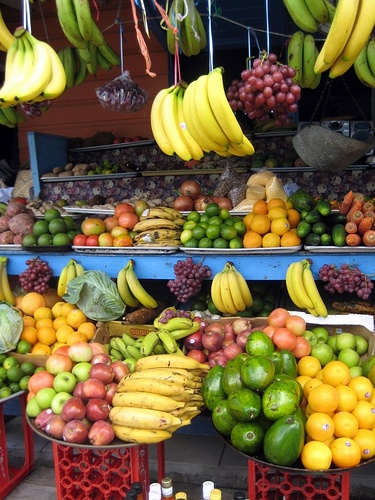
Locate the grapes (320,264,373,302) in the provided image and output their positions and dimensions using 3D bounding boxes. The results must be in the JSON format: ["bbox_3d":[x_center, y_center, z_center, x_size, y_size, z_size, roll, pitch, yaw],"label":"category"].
[{"bbox_3d":[0.861,0.160,2.264,0.157,0.154,0.324,40,-20,-33],"label":"grapes"}]

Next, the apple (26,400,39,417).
[{"bbox_3d":[-0.639,0.656,1.702,0.057,0.067,0.055,2,1,4],"label":"apple"}]

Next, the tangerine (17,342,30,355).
[{"bbox_3d":[-0.923,0.551,2.331,0.067,0.061,0.075,11,1,-11],"label":"tangerine"}]

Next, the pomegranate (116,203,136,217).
[{"bbox_3d":[-0.445,-0.289,2.975,0.116,0.100,0.102,-4,-15,8],"label":"pomegranate"}]

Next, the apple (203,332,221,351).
[{"bbox_3d":[0.123,0.451,2.071,0.094,0.094,0.127,-1,16,8],"label":"apple"}]

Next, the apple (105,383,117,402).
[{"bbox_3d":[-0.307,0.570,1.655,0.054,0.049,0.049,-8,-23,15],"label":"apple"}]

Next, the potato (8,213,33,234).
[{"bbox_3d":[-1.167,-0.189,2.901,0.180,0.123,0.127,-7,1,18],"label":"potato"}]

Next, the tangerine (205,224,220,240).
[{"bbox_3d":[0.156,-0.107,2.469,0.080,0.090,0.087,5,12,32],"label":"tangerine"}]

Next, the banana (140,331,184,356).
[{"bbox_3d":[-0.121,0.458,1.987,0.194,0.123,0.192,-1,16,6],"label":"banana"}]

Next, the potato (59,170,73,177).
[{"bbox_3d":[-1.305,-0.814,4.417,0.101,0.040,0.094,-2,15,6],"label":"potato"}]

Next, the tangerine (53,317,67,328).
[{"bbox_3d":[-0.770,0.430,2.492,0.070,0.073,0.066,5,2,-22],"label":"tangerine"}]

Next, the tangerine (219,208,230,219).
[{"bbox_3d":[0.229,-0.238,2.701,0.065,0.070,0.059,-3,34,-11],"label":"tangerine"}]

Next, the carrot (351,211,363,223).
[{"bbox_3d":[0.933,-0.175,2.293,0.064,0.058,0.060,-21,-30,13],"label":"carrot"}]

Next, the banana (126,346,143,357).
[{"bbox_3d":[-0.264,0.507,2.072,0.089,0.041,0.029,26,-15,-1],"label":"banana"}]

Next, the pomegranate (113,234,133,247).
[{"bbox_3d":[-0.407,-0.056,2.626,0.090,0.078,0.083,1,24,-4],"label":"pomegranate"}]

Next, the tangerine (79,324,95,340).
[{"bbox_3d":[-0.565,0.458,2.344,0.088,0.092,0.088,-1,8,5],"label":"tangerine"}]

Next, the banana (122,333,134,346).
[{"bbox_3d":[-0.317,0.483,2.225,0.030,0.088,0.058,-40,-6,3],"label":"banana"}]

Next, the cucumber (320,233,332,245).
[{"bbox_3d":[0.770,-0.056,2.294,0.054,0.065,0.049,9,21,35],"label":"cucumber"}]

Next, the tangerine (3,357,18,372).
[{"bbox_3d":[-0.955,0.607,2.216,0.069,0.063,0.078,-17,-6,-8],"label":"tangerine"}]

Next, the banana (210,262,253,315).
[{"bbox_3d":[0.261,0.216,2.428,0.235,0.304,0.216,-19,15,10],"label":"banana"}]

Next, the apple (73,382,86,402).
[{"bbox_3d":[-0.424,0.555,1.611,0.049,0.059,0.049,-9,0,6],"label":"apple"}]

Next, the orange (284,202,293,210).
[{"bbox_3d":[0.664,-0.286,2.720,0.050,0.055,0.052,-15,-12,33],"label":"orange"}]

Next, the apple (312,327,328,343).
[{"bbox_3d":[0.657,0.411,2.069,0.067,0.066,0.080,43,14,2],"label":"apple"}]

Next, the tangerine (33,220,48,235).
[{"bbox_3d":[-0.987,-0.153,2.773,0.094,0.099,0.095,-2,4,38],"label":"tangerine"}]

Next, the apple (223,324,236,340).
[{"bbox_3d":[0.223,0.428,2.173,0.055,0.067,0.053,-2,45,0],"label":"apple"}]

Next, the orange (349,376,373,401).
[{"bbox_3d":[0.632,0.500,1.488,0.077,0.079,0.071,-1,-21,5],"label":"orange"}]

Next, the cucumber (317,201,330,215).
[{"bbox_3d":[0.784,-0.234,2.373,0.078,0.080,0.118,2,17,16],"label":"cucumber"}]

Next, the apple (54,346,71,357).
[{"bbox_3d":[-0.617,0.495,2.038,0.059,0.050,0.061,9,48,-2],"label":"apple"}]

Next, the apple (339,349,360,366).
[{"bbox_3d":[0.717,0.477,1.829,0.067,0.061,0.075,-18,-31,-15],"label":"apple"}]

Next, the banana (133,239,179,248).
[{"bbox_3d":[-0.189,-0.031,2.569,0.289,0.050,0.123,-4,16,-4],"label":"banana"}]

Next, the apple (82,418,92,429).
[{"bbox_3d":[-0.369,0.637,1.519,0.033,0.036,0.033,-2,-1,1],"label":"apple"}]

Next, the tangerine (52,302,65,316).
[{"bbox_3d":[-0.813,0.377,2.651,0.088,0.094,0.081,-6,38,-10],"label":"tangerine"}]

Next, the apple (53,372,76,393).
[{"bbox_3d":[-0.510,0.549,1.710,0.084,0.076,0.078,-2,30,-26],"label":"apple"}]

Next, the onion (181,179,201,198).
[{"bbox_3d":[0.012,-0.466,3.290,0.149,0.137,0.168,10,-6,-1],"label":"onion"}]

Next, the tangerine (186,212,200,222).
[{"bbox_3d":[0.043,-0.220,2.736,0.072,0.066,0.065,-16,57,-19],"label":"tangerine"}]

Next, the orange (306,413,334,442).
[{"bbox_3d":[0.417,0.565,1.351,0.088,0.090,0.083,5,-6,-41],"label":"orange"}]

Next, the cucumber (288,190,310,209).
[{"bbox_3d":[0.741,-0.339,2.703,0.109,0.077,0.176,0,19,15],"label":"cucumber"}]

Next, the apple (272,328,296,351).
[{"bbox_3d":[0.432,0.397,1.880,0.102,0.083,0.094,16,35,23],"label":"apple"}]

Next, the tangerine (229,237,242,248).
[{"bbox_3d":[0.288,-0.037,2.430,0.054,0.049,0.068,-2,5,2],"label":"tangerine"}]

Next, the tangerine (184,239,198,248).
[{"bbox_3d":[0.024,-0.037,2.466,0.058,0.050,0.061,-10,15,-6],"label":"tangerine"}]

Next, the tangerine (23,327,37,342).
[{"bbox_3d":[-0.925,0.493,2.411,0.086,0.088,0.078,-3,-11,-5],"label":"tangerine"}]

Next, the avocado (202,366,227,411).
[{"bbox_3d":[0.098,0.509,1.536,0.100,0.145,0.094,17,-12,-4],"label":"avocado"}]

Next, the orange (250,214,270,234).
[{"bbox_3d":[0.436,-0.150,2.502,0.123,0.105,0.106,7,50,-13],"label":"orange"}]

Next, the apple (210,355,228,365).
[{"bbox_3d":[0.140,0.487,1.814,0.051,0.044,0.058,-13,-10,32],"label":"apple"}]

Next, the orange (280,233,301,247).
[{"bbox_3d":[0.589,-0.056,2.359,0.091,0.078,0.084,8,-32,-5],"label":"orange"}]

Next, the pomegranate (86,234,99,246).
[{"bbox_3d":[-0.623,-0.056,2.754,0.089,0.069,0.071,0,-36,6],"label":"pomegranate"}]

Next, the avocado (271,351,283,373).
[{"bbox_3d":[0.327,0.407,1.492,0.048,0.069,0.045,-9,5,-13],"label":"avocado"}]
